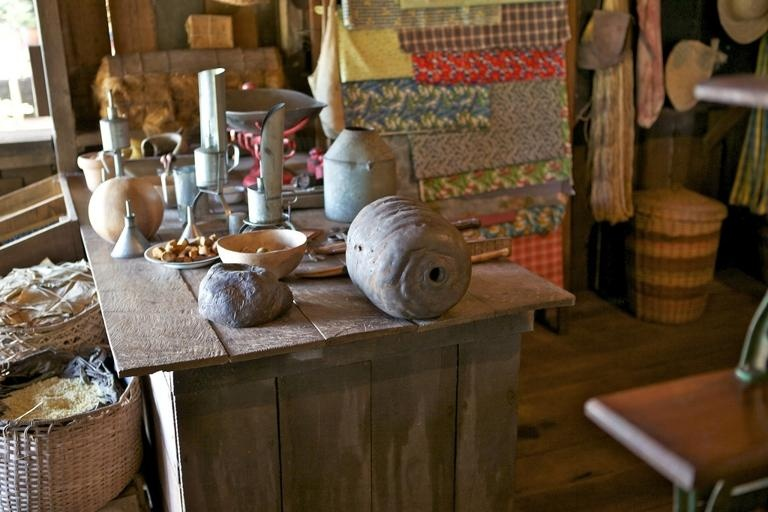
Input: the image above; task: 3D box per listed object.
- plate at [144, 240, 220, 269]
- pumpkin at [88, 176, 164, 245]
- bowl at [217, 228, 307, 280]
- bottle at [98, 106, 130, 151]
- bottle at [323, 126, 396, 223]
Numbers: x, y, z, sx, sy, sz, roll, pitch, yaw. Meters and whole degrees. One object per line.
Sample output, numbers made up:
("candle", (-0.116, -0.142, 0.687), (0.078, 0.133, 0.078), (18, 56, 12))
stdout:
("plate", (-0.811, -0.003, 2.711), (0.187, 0.056, 0.194), (-8, 15, -27))
("pumpkin", (-1.109, -0.180, 3.006), (0.300, 0.276, 0.301), (0, -2, 29))
("bowl", (-0.463, -0.003, 2.553), (0.265, 0.115, 0.280), (4, 15, -1))
("bottle", (-1.302, -0.616, 3.224), (0.107, 0.181, 0.101), (3, 25, -1))
("bottle", (-0.115, -0.417, 3.265), (0.380, 0.423, 0.377), (-2, 19, -8))
